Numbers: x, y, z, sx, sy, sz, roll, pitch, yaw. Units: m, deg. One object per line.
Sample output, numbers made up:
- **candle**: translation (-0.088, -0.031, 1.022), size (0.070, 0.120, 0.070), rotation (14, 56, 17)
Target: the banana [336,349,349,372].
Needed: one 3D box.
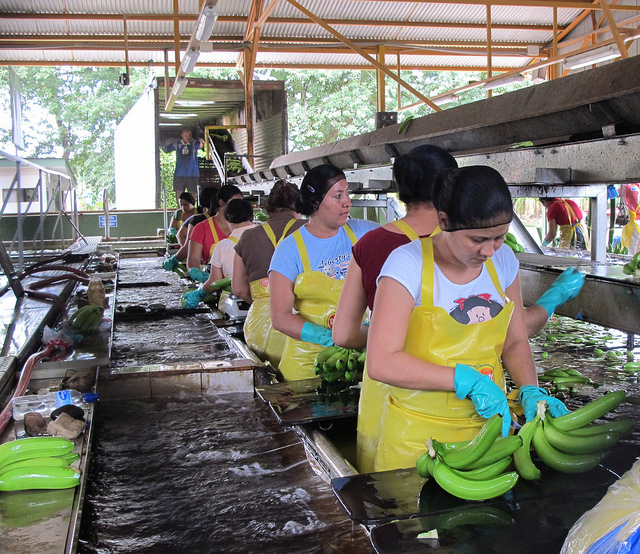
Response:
- **banana**: translation (0.133, 0.474, 2.455), size (0.044, 0.052, 0.162), rotation (21, 26, 0)

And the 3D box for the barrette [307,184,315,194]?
- **barrette**: translation (-0.054, -0.538, 2.655), size (0.012, 0.015, 0.067), rotation (-30, 45, -26)

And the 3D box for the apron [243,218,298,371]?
- **apron**: translation (-0.549, 0.180, 3.793), size (0.579, 1.199, 0.573), rotation (-2, 19, -32)

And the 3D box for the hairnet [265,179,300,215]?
- **hairnet**: translation (-0.321, -0.679, 3.626), size (0.259, 0.296, 0.318), rotation (0, 10, -13)

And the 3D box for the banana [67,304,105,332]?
- **banana**: translation (-2.012, 0.338, 3.717), size (0.111, 0.197, 0.329), rotation (42, -12, -37)

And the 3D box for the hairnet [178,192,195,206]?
- **hairnet**: translation (-3.072, -1.762, 9.861), size (0.270, 0.325, 0.339), rotation (4, 27, 16)

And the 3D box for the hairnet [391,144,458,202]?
- **hairnet**: translation (0.452, -0.419, 1.891), size (0.343, 0.243, 0.250), rotation (-29, 35, -29)

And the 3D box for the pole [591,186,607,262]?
- **pole**: translation (2.318, -0.417, 3.602), size (0.116, 0.601, 0.417), rotation (3, 7, 33)

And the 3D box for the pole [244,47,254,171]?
- **pole**: translation (-2.183, -5.540, 13.650), size (0.232, 3.895, 0.295), rotation (-10, -15, 32)

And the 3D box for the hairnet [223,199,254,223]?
- **hairnet**: translation (-0.896, -0.720, 4.801), size (0.275, 0.267, 0.303), rotation (-2, 8, -6)

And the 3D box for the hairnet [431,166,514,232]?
- **hairnet**: translation (0.450, -0.243, 1.341), size (0.181, 0.175, 0.244), rotation (-16, 19, -21)

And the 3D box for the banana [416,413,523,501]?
- **banana**: translation (0.435, 0.539, 1.282), size (0.293, 0.182, 0.201), rotation (-20, 4, 24)

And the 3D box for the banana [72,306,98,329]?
- **banana**: translation (-2.007, 0.345, 3.704), size (0.114, 0.147, 0.238), rotation (0, 6, 8)

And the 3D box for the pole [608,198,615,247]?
- **pole**: translation (4.597, -0.847, 6.825), size (0.059, 0.726, 0.956), rotation (3, 7, 33)

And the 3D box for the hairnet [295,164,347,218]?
- **hairnet**: translation (-0.008, -0.552, 2.793), size (0.266, 0.340, 0.259), rotation (46, 28, 17)

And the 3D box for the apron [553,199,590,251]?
- **apron**: translation (4.783, -0.994, 8.170), size (0.439, 0.850, 1.179), rotation (4, 8, 37)
